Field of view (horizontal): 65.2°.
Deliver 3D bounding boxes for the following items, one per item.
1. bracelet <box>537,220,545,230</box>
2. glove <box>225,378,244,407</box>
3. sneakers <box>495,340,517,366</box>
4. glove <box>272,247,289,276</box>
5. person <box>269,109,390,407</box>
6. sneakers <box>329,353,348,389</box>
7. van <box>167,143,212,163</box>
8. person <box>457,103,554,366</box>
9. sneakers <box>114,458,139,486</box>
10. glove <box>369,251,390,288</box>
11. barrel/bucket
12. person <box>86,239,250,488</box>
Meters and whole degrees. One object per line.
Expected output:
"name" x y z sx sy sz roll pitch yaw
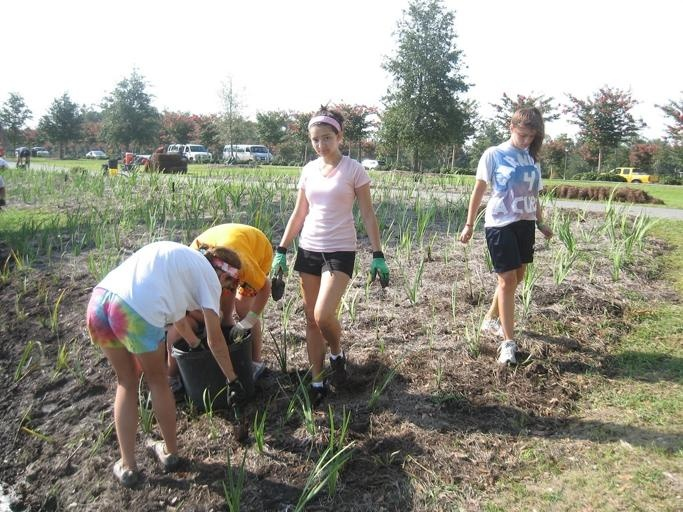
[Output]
"bracelet" 1.883 -0.296 5.034 0.070 0.061 0.160 -34 -18 25
"glove" -0.800 1.059 4.115 0.127 0.237 0.208 0 -10 -4
"sneakers" 1.428 0.844 4.592 0.091 0.138 0.275 2 17 8
"glove" -0.518 0.049 4.588 0.133 0.239 0.081 4 -1 2
"person" -0.107 -0.047 4.349 0.943 2.277 0.581 7 11 39
"sneakers" -0.017 0.945 4.431 0.086 0.134 0.329 -7 49 12
"van" -9.590 -6.551 33.907 2.140 1.043 9.783 -3 13 -16
"person" 1.498 -0.205 4.744 0.763 2.164 0.588 -7 11 -37
"sneakers" -1.559 1.546 3.859 0.098 0.110 0.225 -2 29 -36
"glove" 0.325 0.089 4.342 0.082 0.306 0.150 9 -25 -41
"barrel/bucket" -1.054 0.867 4.376 0.519 0.531 0.587 -21 9 -33
"person" -1.286 0.761 3.837 0.906 1.706 0.403 0 9 0
